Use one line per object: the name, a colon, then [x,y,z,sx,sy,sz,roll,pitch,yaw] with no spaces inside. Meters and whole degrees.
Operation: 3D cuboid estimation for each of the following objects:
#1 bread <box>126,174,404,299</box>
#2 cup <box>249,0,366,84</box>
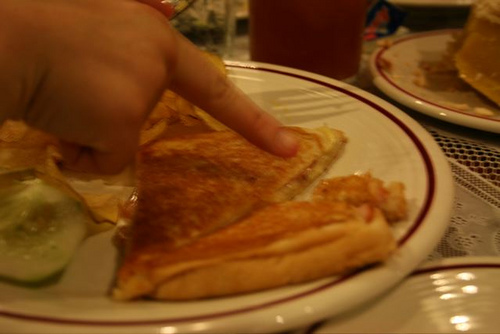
bread: [0.028,0.064,0.429,0.190,0.036,0.114,-12,22,2]
cup: [0.090,-0.191,0.747,0.134,0.140,0.134,1,23,0]
